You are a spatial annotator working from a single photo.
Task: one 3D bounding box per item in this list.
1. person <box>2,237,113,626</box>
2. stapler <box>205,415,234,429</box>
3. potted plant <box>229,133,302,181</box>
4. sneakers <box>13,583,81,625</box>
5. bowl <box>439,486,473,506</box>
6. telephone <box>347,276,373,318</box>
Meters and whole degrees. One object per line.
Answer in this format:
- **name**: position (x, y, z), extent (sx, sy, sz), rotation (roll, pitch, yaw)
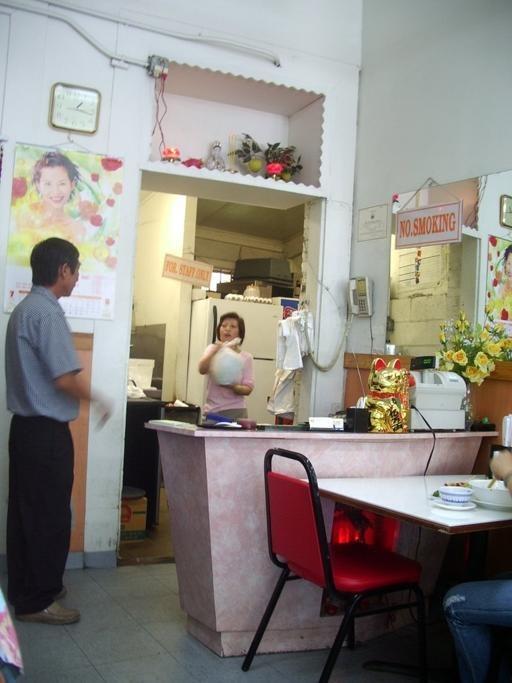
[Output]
- **person**: position (-0.871, 0.373, 2.485), extent (0.448, 1.651, 0.412), rotation (3, -6, 3)
- **stapler**: position (-0.149, 0.318, 2.322), extent (0.115, 0.052, 0.218), rotation (3, -6, -4)
- **potted plant**: position (0.033, -1.285, 4.033), extent (0.331, 0.152, 0.288), rotation (-11, 5, -24)
- **sneakers**: position (-0.906, 1.164, 2.580), extent (0.310, 0.214, 0.104), rotation (4, -9, -13)
- **bowl**: position (0.611, 0.463, 1.791), extent (0.073, 0.035, 0.073), rotation (2, 2, 0)
- **telephone**: position (0.683, -0.292, 3.877), extent (0.092, 0.262, 0.203), rotation (8, -8, -38)
